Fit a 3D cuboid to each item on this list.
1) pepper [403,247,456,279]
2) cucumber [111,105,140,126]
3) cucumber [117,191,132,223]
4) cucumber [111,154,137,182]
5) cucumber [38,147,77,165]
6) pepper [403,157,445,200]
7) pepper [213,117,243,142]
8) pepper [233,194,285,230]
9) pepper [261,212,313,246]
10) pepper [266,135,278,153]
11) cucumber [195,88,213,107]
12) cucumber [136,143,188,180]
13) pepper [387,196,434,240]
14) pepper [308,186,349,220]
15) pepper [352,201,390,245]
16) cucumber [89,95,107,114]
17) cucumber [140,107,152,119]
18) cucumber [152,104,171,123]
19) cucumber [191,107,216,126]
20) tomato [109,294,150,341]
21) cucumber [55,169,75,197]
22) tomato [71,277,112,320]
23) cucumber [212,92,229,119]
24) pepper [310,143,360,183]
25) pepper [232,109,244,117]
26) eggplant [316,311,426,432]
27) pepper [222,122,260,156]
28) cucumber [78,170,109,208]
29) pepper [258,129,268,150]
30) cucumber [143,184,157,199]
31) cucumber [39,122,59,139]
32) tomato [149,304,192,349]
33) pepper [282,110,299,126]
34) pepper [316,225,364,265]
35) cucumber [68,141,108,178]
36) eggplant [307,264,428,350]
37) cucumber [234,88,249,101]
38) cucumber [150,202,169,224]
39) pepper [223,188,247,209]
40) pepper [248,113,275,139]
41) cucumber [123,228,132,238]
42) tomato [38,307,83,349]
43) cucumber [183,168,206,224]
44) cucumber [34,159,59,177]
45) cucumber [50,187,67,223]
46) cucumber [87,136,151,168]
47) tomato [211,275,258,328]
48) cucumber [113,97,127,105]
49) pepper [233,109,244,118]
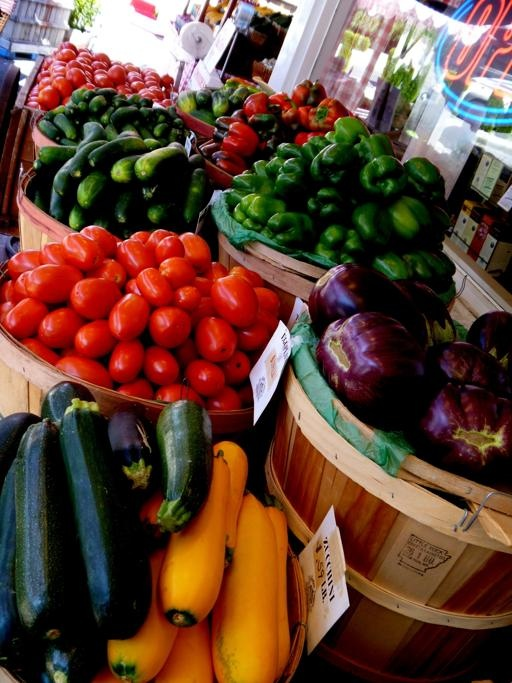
[{"bbox_3d":[0.724,-0.321,2.065,0.179,0.076,0.133,16,24,23],"label":"pepper"},{"bbox_3d":[-0.873,-1.481,3.307,0.202,0.122,0.099,-25,19,-13],"label":"cucumber"},{"bbox_3d":[-0.597,-0.614,2.264,0.050,0.046,0.152,13,54,8],"label":"cucumber"},{"bbox_3d":[-0.610,-0.800,2.301,0.100,0.136,0.127,19,23,-22],"label":"cucumber"},{"bbox_3d":[-1.032,-0.968,2.617,0.211,0.088,0.098,-16,2,-23],"label":"cucumber"},{"bbox_3d":[0.738,-0.710,2.213,0.209,0.115,0.157,39,-13,21],"label":"pepper"},{"bbox_3d":[-0.203,-1.422,3.323,0.198,0.149,0.076,-21,46,-13],"label":"pepper"},{"bbox_3d":[-0.008,-0.591,2.287,0.337,0.177,0.242,-10,19,-23],"label":"pepper"},{"bbox_3d":[0.133,-0.469,2.081,0.097,0.096,0.130,42,34,26],"label":"pepper"},{"bbox_3d":[0.104,-1.260,3.168,0.073,0.091,0.025,-1,-2,7],"label":"pepper"},{"bbox_3d":[-0.380,-1.828,3.697,0.108,0.141,0.109,5,-17,-4],"label":"cucumber"},{"bbox_3d":[-0.457,-0.844,2.362,0.135,0.177,0.374,28,21,1],"label":"cucumber"},{"bbox_3d":[0.632,-0.506,2.085,0.140,0.099,0.184,-22,65,-17],"label":"pepper"},{"bbox_3d":[0.302,-0.577,2.102,0.142,0.142,0.156,7,14,3],"label":"pepper"},{"bbox_3d":[0.485,-0.482,2.049,0.092,0.160,0.210,-3,51,8],"label":"pepper"},{"bbox_3d":[-1.057,-1.585,3.326,0.093,0.122,0.093,14,16,1],"label":"cucumber"},{"bbox_3d":[-0.729,-1.510,3.281,0.068,0.052,0.069,2,24,-4],"label":"cucumber"},{"bbox_3d":[-0.660,-1.570,3.427,0.120,0.085,0.278,19,22,-20],"label":"cucumber"},{"bbox_3d":[-0.388,-1.664,3.751,0.202,0.100,0.078,32,-23,3],"label":"cucumber"},{"bbox_3d":[-0.368,-0.061,1.459,0.117,0.138,0.121,17,23,-24],"label":"tomato"},{"bbox_3d":[-0.903,-0.744,2.317,0.045,0.122,0.110,2,32,-49],"label":"cucumber"},{"bbox_3d":[-0.453,-0.125,1.495,0.128,0.117,0.122,-19,3,0],"label":"tomato"},{"bbox_3d":[-0.260,-1.713,3.590,0.126,0.246,0.137,2,-17,-10],"label":"cucumber"},{"bbox_3d":[0.316,-0.751,2.105,0.179,0.177,0.180,-21,32,-37],"label":"pepper"},{"bbox_3d":[-0.118,-1.525,3.331,0.079,0.044,0.060,-35,36,-22],"label":"pepper"},{"bbox_3d":[0.286,0.039,1.176,0.168,0.205,0.273,-6,62,-53],"label":"eggplant"},{"bbox_3d":[-0.089,-1.268,3.121,0.212,0.192,0.189,28,21,1],"label":"pepper"},{"bbox_3d":[-0.718,-0.695,2.292,0.093,0.088,0.197,14,54,25],"label":"cucumber"},{"bbox_3d":[0.051,-1.286,3.182,0.034,0.082,0.065,-3,3,-25],"label":"pepper"},{"bbox_3d":[-0.485,-0.684,2.273,0.055,0.042,0.060,-19,26,-37],"label":"cucumber"},{"bbox_3d":[-1.374,-1.395,3.271,0.184,0.073,0.075,39,24,29],"label":"cucumber"},{"bbox_3d":[-0.252,-0.043,1.533,0.132,0.118,0.123,1,-8,-5],"label":"tomato"},{"bbox_3d":[0.230,-1.441,3.190,0.096,0.096,0.095,3,18,3],"label":"pepper"},{"bbox_3d":[0.367,-0.389,2.044,0.173,0.153,0.172,19,22,-20],"label":"pepper"},{"bbox_3d":[-0.774,-0.851,2.371,0.117,0.224,0.065,25,-16,33],"label":"cucumber"},{"bbox_3d":[0.270,-0.123,1.350,0.211,0.157,0.265,0,5,43],"label":"eggplant"},{"bbox_3d":[-0.090,-1.773,3.573,0.081,0.104,0.059,5,-13,-14],"label":"cucumber"},{"bbox_3d":[-0.449,-0.599,2.316,0.072,0.069,0.094,-1,5,-6],"label":"cucumber"},{"bbox_3d":[-0.104,-0.685,2.383,0.087,0.108,0.045,6,9,-10],"label":"pepper"},{"bbox_3d":[0.052,-1.360,3.170,0.121,0.158,0.091,4,53,1],"label":"pepper"},{"bbox_3d":[-0.596,-0.503,2.307,0.038,0.041,0.015,4,-4,-9],"label":"cucumber"},{"bbox_3d":[-0.608,-0.041,1.496,0.149,0.115,0.109,-3,2,-12],"label":"tomato"},{"bbox_3d":[-0.307,-0.736,2.522,0.110,0.242,0.277,22,22,-14],"label":"cucumber"},{"bbox_3d":[-1.105,-0.909,2.597,0.139,0.075,0.065,0,8,25],"label":"cucumber"},{"bbox_3d":[-0.943,-0.639,2.370,0.084,0.169,0.063,-6,-1,-3],"label":"cucumber"},{"bbox_3d":[-0.663,-0.893,2.402,0.282,0.122,0.110,-32,71,-29],"label":"cucumber"},{"bbox_3d":[-0.058,-0.130,1.651,0.170,0.129,0.129,53,-12,10],"label":"tomato"},{"bbox_3d":[-0.930,-1.653,3.375,0.062,0.046,0.080,5,42,-2],"label":"cucumber"},{"bbox_3d":[-0.115,-1.519,3.325,0.081,0.044,0.061,-26,36,-12],"label":"pepper"}]
